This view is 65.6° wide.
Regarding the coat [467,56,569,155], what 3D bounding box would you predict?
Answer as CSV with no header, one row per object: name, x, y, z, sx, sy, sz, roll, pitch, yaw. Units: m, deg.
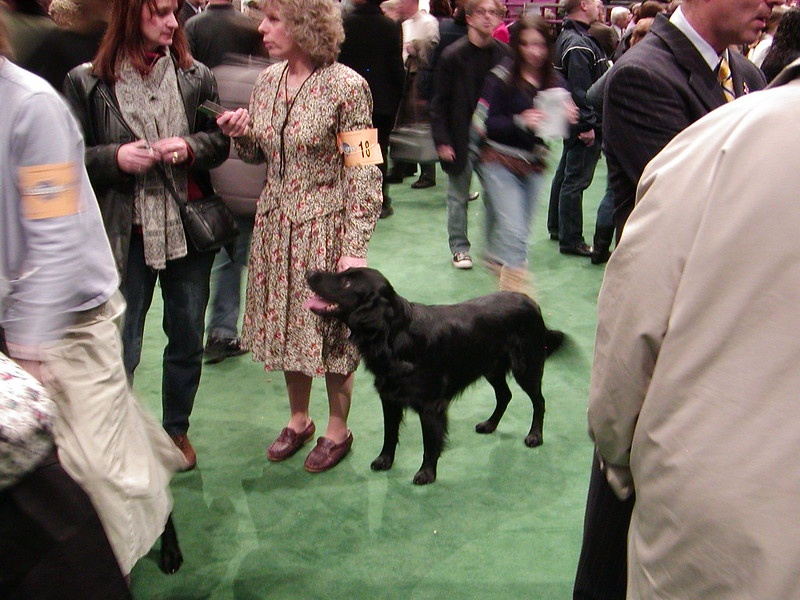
coat,0.938,-1.443,4.862,0.708,0.763,0.694,-15,37,-33

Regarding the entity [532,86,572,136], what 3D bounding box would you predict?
entity,1.173,-1.411,4.698,0.391,0.364,0.186,-10,22,-33

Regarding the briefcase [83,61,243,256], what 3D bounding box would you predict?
briefcase,-1.196,-0.670,2.990,0.617,0.983,0.491,-13,30,-27

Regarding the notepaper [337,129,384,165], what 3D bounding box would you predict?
notepaper,-0.189,-0.729,2.997,0.154,0.160,0.197,-11,9,-7

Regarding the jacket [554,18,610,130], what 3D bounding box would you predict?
jacket,2.044,-2.149,6.621,0.370,1.530,0.728,-4,26,24

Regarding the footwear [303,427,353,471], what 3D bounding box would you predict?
footwear,-0.398,0.824,3.429,0.118,0.116,0.299,15,38,27

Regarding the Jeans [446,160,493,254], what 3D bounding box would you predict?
Jeans,0.670,-0.955,6.187,0.273,1.119,0.297,2,-3,6

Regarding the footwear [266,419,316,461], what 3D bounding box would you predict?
footwear,-0.622,0.811,3.565,0.115,0.115,0.321,9,27,29

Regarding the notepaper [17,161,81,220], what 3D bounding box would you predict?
notepaper,-0.931,-0.292,1.690,0.126,0.156,0.138,-1,7,0
